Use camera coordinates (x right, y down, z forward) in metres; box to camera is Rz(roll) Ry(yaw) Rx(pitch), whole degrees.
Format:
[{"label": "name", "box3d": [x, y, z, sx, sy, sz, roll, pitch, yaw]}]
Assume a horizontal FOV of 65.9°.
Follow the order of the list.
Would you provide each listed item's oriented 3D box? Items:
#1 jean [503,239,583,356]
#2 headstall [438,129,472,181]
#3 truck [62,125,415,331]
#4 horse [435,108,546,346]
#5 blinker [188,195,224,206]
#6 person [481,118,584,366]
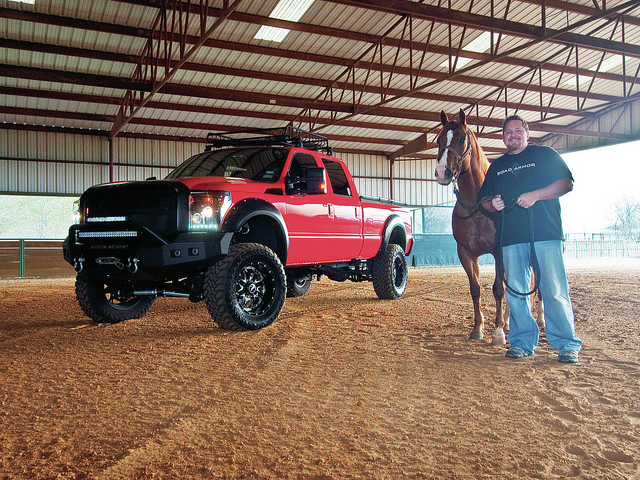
[{"label": "jean", "box3d": [2.319, 0.617, 5.193, 0.774, 1.260, 0.378, 2, 5, 29]}, {"label": "headstall", "box3d": [1.588, -1.026, 5.741, 0.327, 0.599, 0.154, -2, -22, 40]}, {"label": "truck", "box3d": [-0.647, -0.218, 7.884, 2.795, 2.540, 5.241, -3, -7, 34]}, {"label": "horse", "box3d": [2.381, 0.013, 6.693, 0.789, 2.813, 3.339, -4, -7, 37]}, {"label": "blinker", "box3d": [-1.371, -0.474, 5.887, 0.393, 0.131, 0.076, -1, 5, -5]}, {"label": "person", "box3d": [2.222, -0.018, 5.224, 0.581, 2.560, 0.974, -5, 6, -41]}]
